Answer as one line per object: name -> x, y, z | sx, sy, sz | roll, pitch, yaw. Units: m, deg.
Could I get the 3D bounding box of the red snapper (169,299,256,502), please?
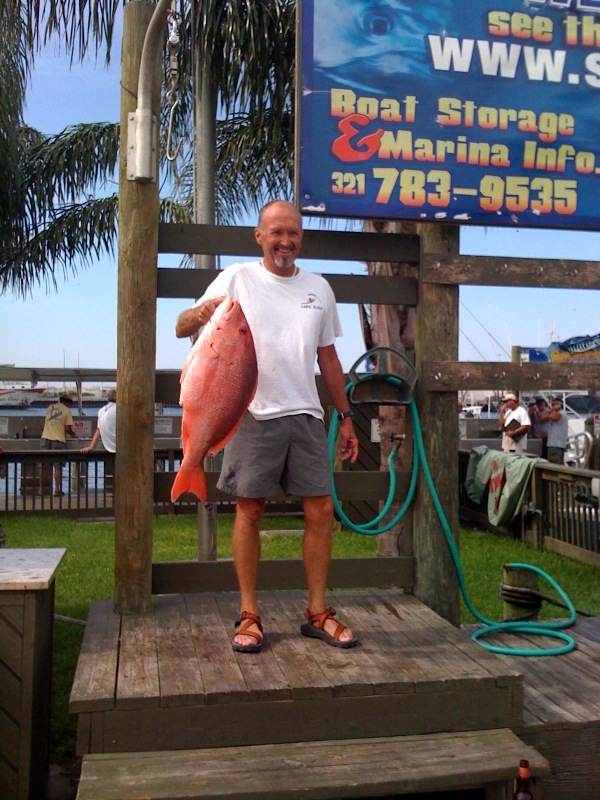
red snapper -> -0.361, 0.016, 3.777 | 0.328, 0.853, 0.352 | -4, 6, -39

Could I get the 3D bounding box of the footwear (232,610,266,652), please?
footwear -> -0.222, 0.964, 3.824 | 0.133, 0.139, 0.212 | -1, 6, -1

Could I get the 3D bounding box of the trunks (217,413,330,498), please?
trunks -> -0.093, 0.200, 3.986 | 0.436, 0.390, 0.258 | -5, 17, -20

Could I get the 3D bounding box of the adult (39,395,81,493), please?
adult -> -3.985, 0.754, 14.960 | 0.525, 1.562, 4.142 | -2, 6, -14

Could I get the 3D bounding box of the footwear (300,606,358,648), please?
footwear -> 0.121, 0.985, 3.987 | 0.100, 0.149, 0.287 | -3, 1, -44

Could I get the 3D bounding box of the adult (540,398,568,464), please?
adult -> 4.176, 0.614, 14.987 | 0.409, 1.365, 0.458 | 14, 27, 41

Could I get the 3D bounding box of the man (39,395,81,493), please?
man -> -3.978, 0.757, 14.931 | 0.525, 1.562, 4.083 | -2, 6, -14

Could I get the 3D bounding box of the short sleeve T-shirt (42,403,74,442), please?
short sleeve T-shirt -> -4.172, 0.410, 15.603 | 0.561, 0.757, 0.394 | 8, -1, -3
